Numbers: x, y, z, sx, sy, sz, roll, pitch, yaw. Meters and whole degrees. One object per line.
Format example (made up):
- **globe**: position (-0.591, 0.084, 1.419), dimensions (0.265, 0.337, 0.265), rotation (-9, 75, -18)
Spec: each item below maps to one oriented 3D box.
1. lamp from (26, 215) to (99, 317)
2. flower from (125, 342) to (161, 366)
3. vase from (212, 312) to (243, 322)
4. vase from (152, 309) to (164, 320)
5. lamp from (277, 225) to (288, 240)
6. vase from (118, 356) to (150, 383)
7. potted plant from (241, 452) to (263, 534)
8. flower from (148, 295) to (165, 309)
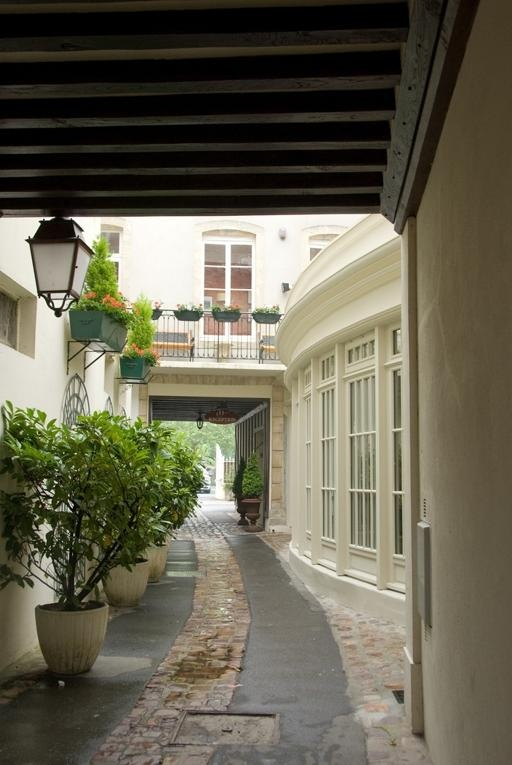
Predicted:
- **lamp**: position (-1.258, -0.692, 3.862), dimensions (0.314, 0.646, 0.515), rotation (2, -8, -6)
- **flower**: position (-1.927, -0.479, 10.180), dimensions (0.504, 0.405, 0.591), rotation (3, -1, -18)
- **vase**: position (-0.750, -1.717, 15.397), dimensions (0.669, 0.280, 0.196), rotation (0, -8, 3)
- **vase**: position (-2.514, -1.755, 15.325), dimensions (0.184, 0.245, 0.267), rotation (0, -35, 0)
- **lamp**: position (0.755, -4.103, 16.431), dimensions (0.184, 0.400, 0.127), rotation (-1, 3, 1)
- **vase**: position (-2.006, -0.207, 10.017), dimensions (0.329, 0.348, 0.591), rotation (2, -1, 1)
- **potted plant**: position (-0.077, 3.071, 16.721), dimensions (0.574, 2.043, 1.015), rotation (0, -8, 5)
- **flower**: position (-2.595, -2.077, 15.835), dimensions (0.402, 0.416, 0.500), rotation (7, -11, -11)
